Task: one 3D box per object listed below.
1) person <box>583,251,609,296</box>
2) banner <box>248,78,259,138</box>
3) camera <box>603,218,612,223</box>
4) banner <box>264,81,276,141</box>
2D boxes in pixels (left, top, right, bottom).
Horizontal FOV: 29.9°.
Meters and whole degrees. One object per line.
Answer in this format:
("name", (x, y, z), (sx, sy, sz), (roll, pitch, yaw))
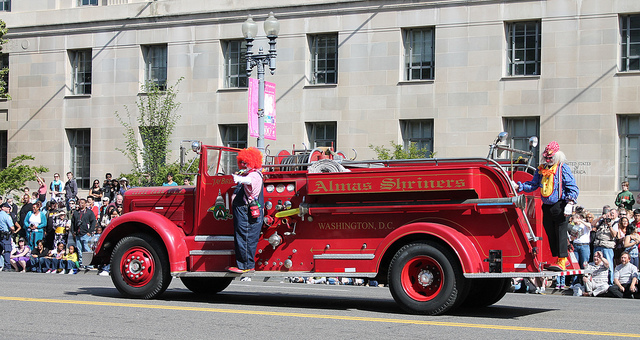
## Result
("person", (11.566, 4.320, 50.089), (0.617, 1.685, 0.862), (2, -1, 2))
("banner", (-2.827, -2.673, 52.289), (0.066, 2.574, 0.881), (-5, -7, 36))
("camera", (12.234, 2.113, 50.924), (0.344, 0.209, 0.197), (-6, -16, 27))
("banner", (-2.214, -2.648, 52.655), (0.324, 2.588, 0.853), (-8, -17, 32))
